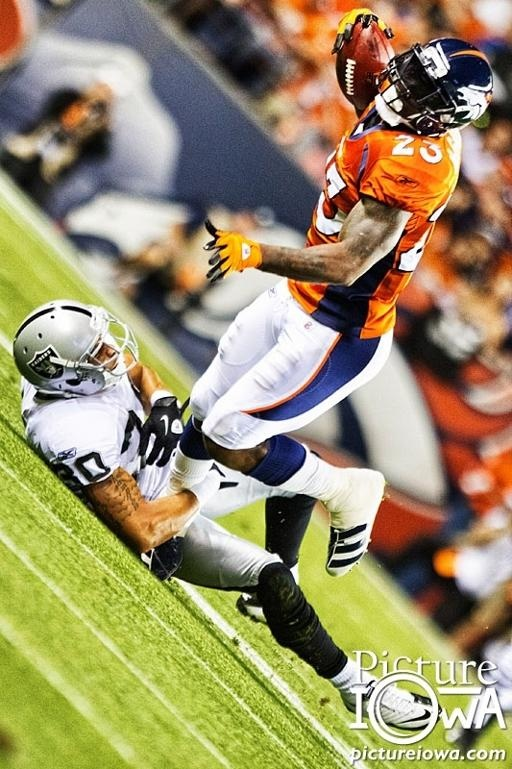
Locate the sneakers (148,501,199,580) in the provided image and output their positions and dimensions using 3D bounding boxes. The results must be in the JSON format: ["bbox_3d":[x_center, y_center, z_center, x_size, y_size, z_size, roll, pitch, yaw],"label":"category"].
[{"bbox_3d":[-0.263,0.592,2.909,0.102,0.286,0.212,37,-13,0],"label":"sneakers"}]

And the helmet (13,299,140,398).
[{"bbox_3d":[-0.577,-0.106,2.582,0.416,0.243,0.275,2,41,-10],"label":"helmet"}]

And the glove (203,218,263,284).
[{"bbox_3d":[-0.048,-0.319,2.066,0.191,0.145,0.065,4,-7,-23],"label":"glove"}]

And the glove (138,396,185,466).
[{"bbox_3d":[-0.336,0.172,2.889,0.148,0.234,0.076,32,-20,-37],"label":"glove"}]

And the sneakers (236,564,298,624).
[{"bbox_3d":[-0.011,0.874,3.254,0.116,0.292,0.212,47,43,-9],"label":"sneakers"}]

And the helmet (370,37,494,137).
[{"bbox_3d":[0.406,-0.742,2.026,0.312,0.199,0.219,-15,-1,-26],"label":"helmet"}]

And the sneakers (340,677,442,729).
[{"bbox_3d":[0.462,1.267,3.131,0.481,0.148,0.199,9,-24,3],"label":"sneakers"}]
